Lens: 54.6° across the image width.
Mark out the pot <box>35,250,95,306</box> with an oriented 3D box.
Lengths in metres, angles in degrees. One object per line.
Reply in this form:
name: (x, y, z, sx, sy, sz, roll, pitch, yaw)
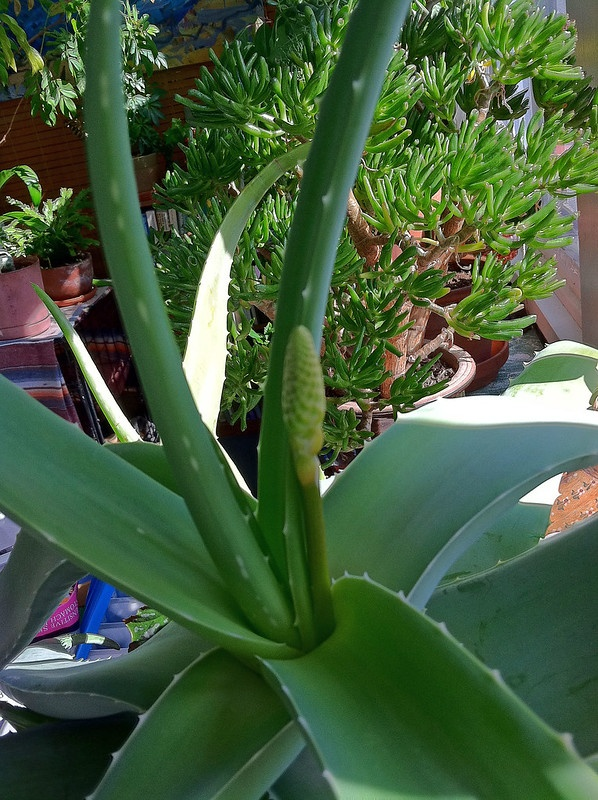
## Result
pot: (-0.650, -0.339, 1.588, 0.140, 0.106, 0.141, 2, 36, -2)
